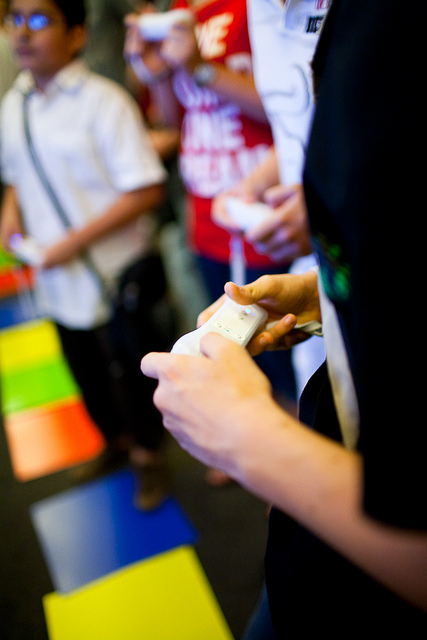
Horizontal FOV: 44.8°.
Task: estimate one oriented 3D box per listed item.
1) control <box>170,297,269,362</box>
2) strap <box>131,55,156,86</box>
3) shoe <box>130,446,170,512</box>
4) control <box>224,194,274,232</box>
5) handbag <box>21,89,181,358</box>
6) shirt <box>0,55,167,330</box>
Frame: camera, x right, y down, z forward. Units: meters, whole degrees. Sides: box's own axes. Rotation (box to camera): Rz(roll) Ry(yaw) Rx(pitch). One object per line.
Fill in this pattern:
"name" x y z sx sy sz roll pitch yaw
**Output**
"control" 0.012 0.003 0.716 0.068 0.038 0.132 15 31 25
"strap" -0.196 -0.697 1.440 0.021 0.067 0.067 -16 31 -12
"shoe" -0.211 0.526 1.740 0.115 0.082 0.212 -10 44 -2
"control" 0.072 -0.233 1.142 0.084 0.024 0.089 15 71 -33
"handbag" -0.245 -0.076 1.576 0.228 1.111 0.321 -16 22 -12
"shirt" -0.343 -0.307 1.383 0.445 0.664 0.298 -2 43 5
